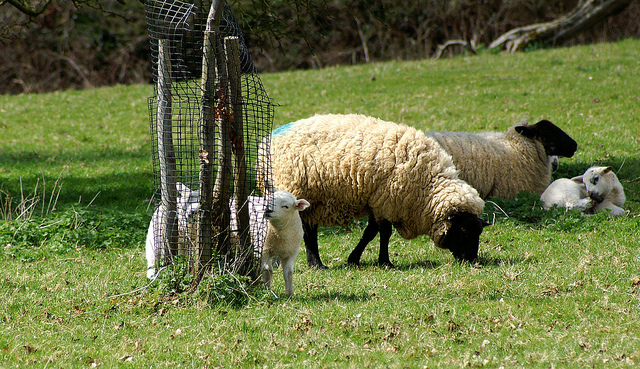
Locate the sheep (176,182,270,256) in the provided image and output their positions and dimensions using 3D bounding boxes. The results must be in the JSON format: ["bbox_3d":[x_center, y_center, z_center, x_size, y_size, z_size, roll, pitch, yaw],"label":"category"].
[{"bbox_3d":[-2.943,1.027,31.270,2.838,2.188,1.137,-1,15,-1],"label":"sheep"}]

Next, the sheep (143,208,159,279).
[{"bbox_3d":[-5.130,1.834,31.276,0.521,1.997,0.362,0,-4,14],"label":"sheep"}]

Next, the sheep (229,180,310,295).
[{"bbox_3d":[-1.503,1.974,32.063,1.629,3.133,4.333,3,-10,-17],"label":"sheep"}]
